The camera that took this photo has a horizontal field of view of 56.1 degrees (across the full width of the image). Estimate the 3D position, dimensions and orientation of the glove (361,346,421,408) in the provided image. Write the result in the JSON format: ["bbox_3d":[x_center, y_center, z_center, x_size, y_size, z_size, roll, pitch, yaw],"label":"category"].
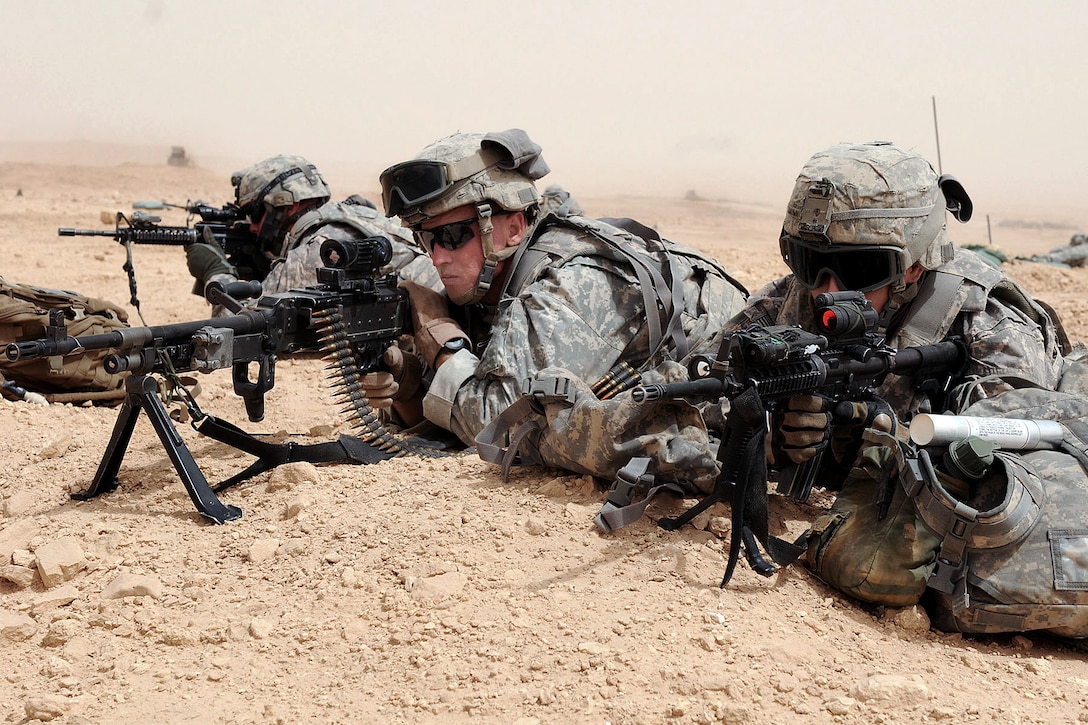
[{"bbox_3d":[-0.969,0.048,6.973,0.457,0.185,0.868,-39,10,1],"label":"glove"}]

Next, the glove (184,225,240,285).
[{"bbox_3d":[-3.462,-1.010,10.508,0.625,0.247,0.595,21,34,-21],"label":"glove"}]

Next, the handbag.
[{"bbox_3d":[1.601,0.720,4.825,0.423,0.554,0.731,19,62,16],"label":"handbag"}]

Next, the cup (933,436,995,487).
[{"bbox_3d":[1.897,0.431,4.624,0.208,0.191,0.210,43,18,-17],"label":"cup"}]

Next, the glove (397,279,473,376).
[{"bbox_3d":[-0.782,-0.223,6.374,0.223,0.504,0.521,-16,3,-10],"label":"glove"}]

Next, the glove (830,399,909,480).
[{"bbox_3d":[1.612,0.380,5.258,0.448,0.414,0.195,11,-10,-25],"label":"glove"}]
